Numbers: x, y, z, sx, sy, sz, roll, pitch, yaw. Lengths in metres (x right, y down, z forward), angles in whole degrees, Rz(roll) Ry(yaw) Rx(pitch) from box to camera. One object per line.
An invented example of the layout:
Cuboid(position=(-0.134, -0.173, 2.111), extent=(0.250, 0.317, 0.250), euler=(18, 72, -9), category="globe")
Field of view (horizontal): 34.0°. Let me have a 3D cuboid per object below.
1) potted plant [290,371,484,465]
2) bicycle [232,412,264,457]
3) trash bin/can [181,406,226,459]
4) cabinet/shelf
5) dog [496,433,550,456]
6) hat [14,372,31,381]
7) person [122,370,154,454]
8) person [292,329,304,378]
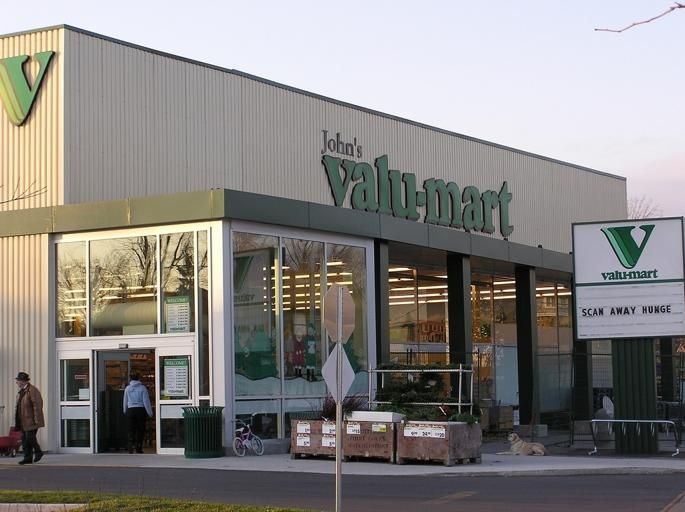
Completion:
Cuboid(position=(0.965, 4.098, 28.040), extent=(2.992, 1.818, 1.544), euler=(-3, -5, 30), category="potted plant")
Cuboid(position=(-2.539, 4.755, 29.398), extent=(0.580, 0.660, 1.026), euler=(-9, -6, 31), category="bicycle")
Cuboid(position=(-3.438, 4.549, 29.044), extent=(1.130, 1.175, 1.160), euler=(-2, -6, 18), category="trash bin/can")
Cuboid(position=(1.864, 3.614, 28.757), extent=(2.913, 1.704, 1.077), euler=(1, -4, -12), category="cabinet/shelf")
Cuboid(position=(4.928, 5.035, 30.144), extent=(0.787, 0.519, 1.544), euler=(1, -6, -12), category="dog")
Cuboid(position=(-8.434, 3.154, 29.574), extent=(0.446, 0.176, 0.358), euler=(14, -13, -42), category="hat")
Cuboid(position=(-5.507, 4.174, 29.947), extent=(0.907, 2.124, 0.570), euler=(-5, -7, 39), category="person")
Cuboid(position=(-1.227, 2.737, 31.033), extent=(0.090, 1.143, 0.394), euler=(-4, -7, 37), category="person")
